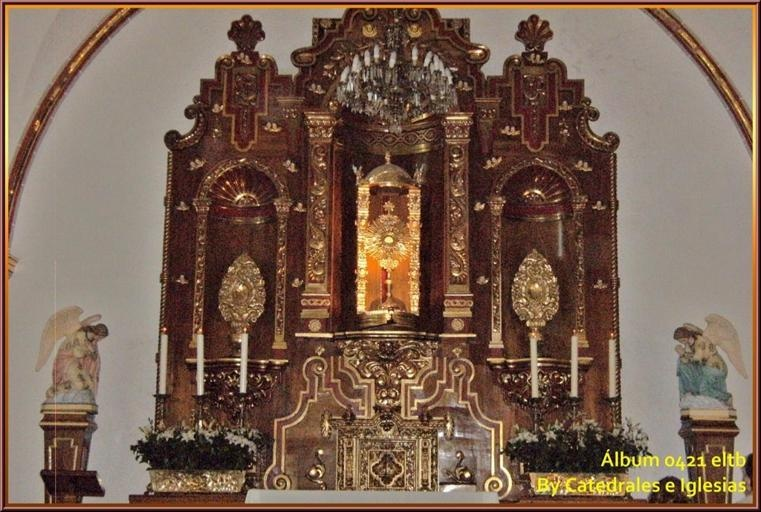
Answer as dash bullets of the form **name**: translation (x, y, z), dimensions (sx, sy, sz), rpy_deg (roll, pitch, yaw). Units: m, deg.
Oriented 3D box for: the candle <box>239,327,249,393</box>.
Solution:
- **candle**: translation (-1.475, 1.126, 23.443), dimensions (0.096, 0.641, 0.094), rpy_deg (2, -3, -1)
